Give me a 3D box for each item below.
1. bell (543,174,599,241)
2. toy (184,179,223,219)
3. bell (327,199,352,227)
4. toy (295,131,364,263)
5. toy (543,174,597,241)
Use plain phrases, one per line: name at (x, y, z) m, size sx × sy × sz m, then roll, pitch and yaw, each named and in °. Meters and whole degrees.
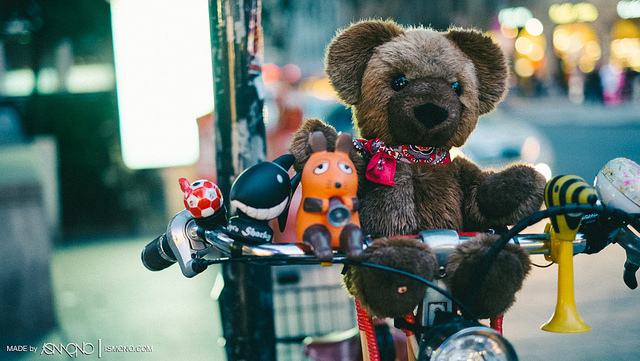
bell at (3.579, 0.415, 12.050) m, size 0.695 × 1.147 × 0.875 m, roll -3°, pitch 9°, yaw -30°
toy at (-1.621, 0.243, 11.958) m, size 0.513 × 0.618 × 0.518 m, roll 2°, pitch 4°, yaw 37°
bell at (0.255, 0.438, 11.837) m, size 0.329 × 0.321 × 0.354 m, roll -4°, pitch 13°, yaw -1°
toy at (0.155, 0.180, 11.975) m, size 1.033 × 1.706 × 1.198 m, roll 3°, pitch 14°, yaw 5°
toy at (3.444, 0.471, 12.074) m, size 0.709 × 1.107 × 0.805 m, roll 19°, pitch -13°, yaw -43°
